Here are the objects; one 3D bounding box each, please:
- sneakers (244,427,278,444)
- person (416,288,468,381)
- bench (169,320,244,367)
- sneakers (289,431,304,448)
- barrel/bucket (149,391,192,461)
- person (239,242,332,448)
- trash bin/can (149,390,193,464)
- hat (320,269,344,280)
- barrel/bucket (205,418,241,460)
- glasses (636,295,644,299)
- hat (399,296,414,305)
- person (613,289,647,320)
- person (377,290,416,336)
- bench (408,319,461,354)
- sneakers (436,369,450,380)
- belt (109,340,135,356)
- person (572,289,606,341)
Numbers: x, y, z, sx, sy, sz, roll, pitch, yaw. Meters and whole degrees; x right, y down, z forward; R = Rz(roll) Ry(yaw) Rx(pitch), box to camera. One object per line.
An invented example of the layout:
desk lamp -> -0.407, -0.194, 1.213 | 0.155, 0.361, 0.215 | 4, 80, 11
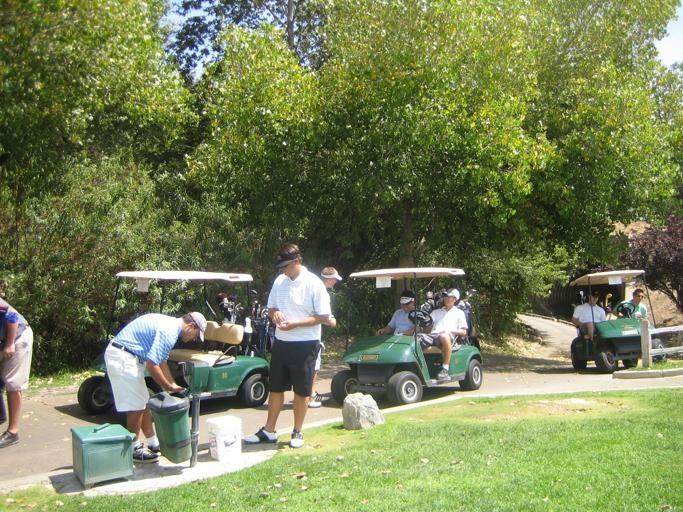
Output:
sneakers -> -1.103, 2.448, 9.644 | 0.432, 0.232, 0.203 | 4, -11, -3
person -> 1.729, 1.396, 12.650 | 0.955, 1.568, 0.785 | 3, 5, -36
bench -> -2.312, 1.645, 12.183 | 1.116, 0.786, 1.210 | -14, 14, -16
sneakers -> -0.611, 2.470, 9.554 | 0.192, 0.212, 0.220 | -2, 4, -5
barrel/bucket -> -2.154, 2.172, 8.986 | 0.456, 0.886, 0.587 | -11, 11, -38
person -> -0.657, 1.201, 9.607 | 1.066, 2.734, 0.541 | -2, 5, -3
trash bin/can -> -2.148, 2.186, 8.986 | 0.430, 0.853, 0.601 | -8, 5, -32
hat -> -0.147, 0.335, 11.945 | 0.320, 0.233, 0.244 | 2, 6, -7
barrel/bucket -> -1.533, 2.390, 9.247 | 0.362, 0.533, 0.496 | -3, -2, -34
glasses -> 6.969, 0.949, 16.427 | 0.140, 0.065, 0.197 | -6, 13, 12
hat -> 1.227, 0.822, 13.293 | 0.212, 0.146, 0.312 | -2, 4, -1
person -> 6.802, 1.092, 16.557 | 0.593, 0.734, 1.055 | -1, 4, 10
person -> 1.098, 1.145, 13.348 | 0.706, 1.036, 0.605 | 6, -2, -9
bench -> 1.710, 1.449, 12.572 | 0.747, 0.488, 0.907 | -1, 4, 8
sneakers -> 1.774, 2.073, 12.305 | 0.212, 0.239, 0.141 | 3, -10, -6
belt -> -2.757, 1.146, 8.844 | 0.232, 0.074, 0.183 | 37, -8, -24
person -> 5.623, 1.370, 16.051 | 0.663, 0.998, 1.493 | 0, 5, 19
